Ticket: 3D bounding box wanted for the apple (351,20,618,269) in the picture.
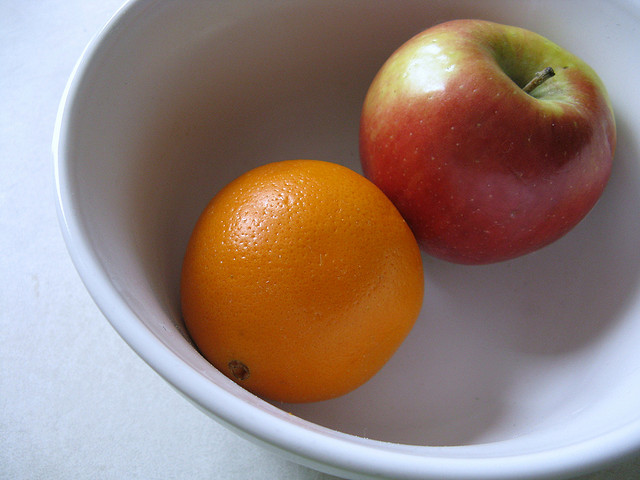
[{"bbox_3d":[0.207,-0.120,0.778,0.305,0.199,0.284,-17,74,0],"label":"apple"}]
